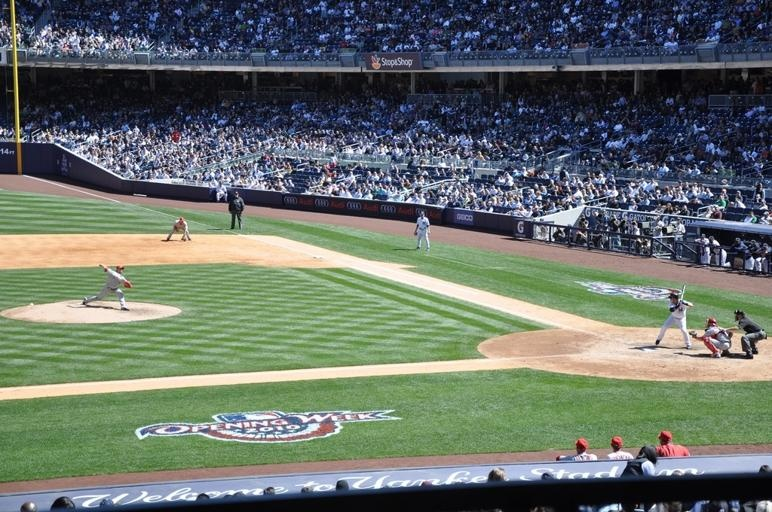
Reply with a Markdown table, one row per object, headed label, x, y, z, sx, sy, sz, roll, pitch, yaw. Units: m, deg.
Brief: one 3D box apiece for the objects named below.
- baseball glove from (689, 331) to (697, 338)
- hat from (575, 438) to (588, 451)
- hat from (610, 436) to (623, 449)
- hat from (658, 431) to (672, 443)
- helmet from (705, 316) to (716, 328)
| label | x | y | z | sx | sy | sz | roll | pitch | yaw |
| --- | --- | --- | --- | --- | --- | --- | --- | --- | --- |
| baseball glove | 13.117 | 3.342 | 53.634 | 0.359 | 0.112 | 0.328 | -3 | 14 | -24 |
| hat | 6.880 | 6.604 | 44.371 | 0.413 | 0.236 | 0.490 | -10 | 24 | -7 |
| hat | 8.128 | 6.583 | 44.531 | 0.498 | 0.490 | 0.568 | 2 | 11 | 3 |
| hat | 9.910 | 6.324 | 44.297 | 0.443 | 0.170 | 0.553 | 7 | 14 | 37 |
| helmet | 13.962 | 2.826 | 54.192 | 0.422 | 0.429 | 0.458 | 9 | 26 | -8 |
